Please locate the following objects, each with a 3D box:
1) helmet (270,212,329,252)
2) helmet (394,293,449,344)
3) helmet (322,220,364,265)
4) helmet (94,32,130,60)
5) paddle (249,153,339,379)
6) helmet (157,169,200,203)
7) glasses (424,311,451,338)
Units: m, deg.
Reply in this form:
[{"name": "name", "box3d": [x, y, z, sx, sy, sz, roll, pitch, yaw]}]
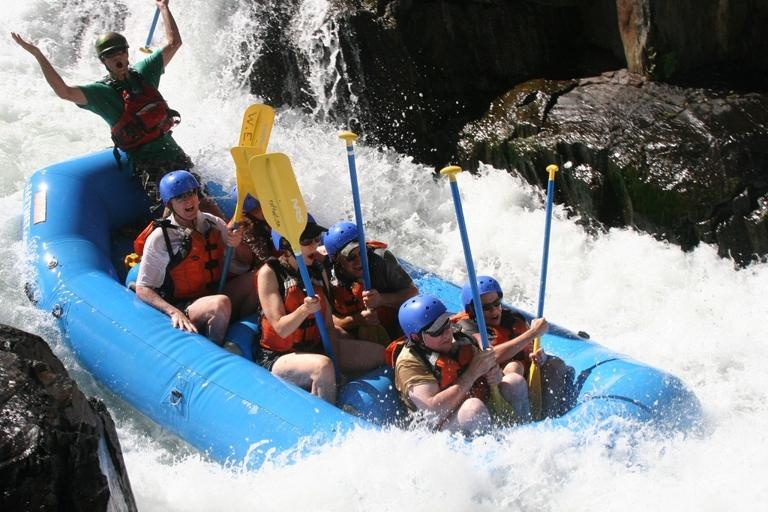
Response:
[{"name": "helmet", "box3d": [-0.736, -0.155, 6.651, 0.417, 0.255, 0.294, -30, -4, 31]}, {"name": "helmet", "box3d": [0.280, 0.461, 6.189, 0.360, 0.286, 0.287, -41, -6, 25]}, {"name": "helmet", "box3d": [-0.386, -0.145, 6.845, 0.338, 0.314, 0.255, -38, -11, 26]}, {"name": "helmet", "box3d": [-2.724, -2.113, 7.814, 0.222, 0.230, 0.285, -24, 26, -5]}, {"name": "paddle", "box3d": [-0.741, -0.253, 6.399, 0.336, 1.234, 0.516, -23, 24, -25]}, {"name": "helmet", "box3d": [-1.913, -0.623, 7.153, 0.315, 0.261, 0.274, -22, 3, 43]}, {"name": "glasses", "box3d": [0.429, 0.543, 6.108, 0.165, 0.058, 0.193, -38, -3, -32]}]
